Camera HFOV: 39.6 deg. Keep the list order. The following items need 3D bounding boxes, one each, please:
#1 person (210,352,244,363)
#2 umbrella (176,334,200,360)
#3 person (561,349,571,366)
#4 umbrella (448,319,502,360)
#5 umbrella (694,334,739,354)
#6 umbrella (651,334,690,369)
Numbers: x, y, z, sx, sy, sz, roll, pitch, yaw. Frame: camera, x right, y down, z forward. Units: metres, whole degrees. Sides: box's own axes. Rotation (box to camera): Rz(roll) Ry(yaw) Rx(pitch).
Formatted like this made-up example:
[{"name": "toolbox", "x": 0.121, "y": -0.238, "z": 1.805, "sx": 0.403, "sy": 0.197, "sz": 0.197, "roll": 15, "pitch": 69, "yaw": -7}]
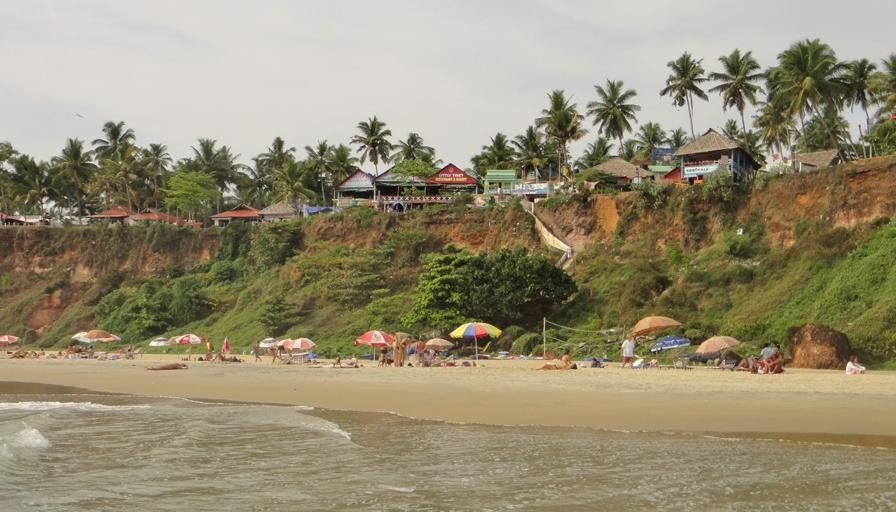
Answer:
[{"name": "person", "x": -20.109, "y": 9.368, "z": 113.960, "sx": 1.427, "sy": 0.593, "sz": 1.868, "roll": 3, "pitch": -13, "yaw": 9}, {"name": "umbrella", "x": -25.051, "y": 8.783, "z": 120.299, "sx": 2.538, "sy": 2.505, "sz": 2.515, "roll": 5, "pitch": 3, "yaw": 36}, {"name": "person", "x": 9.811, "y": 8.541, "z": 102.868, "sx": 0.741, "sy": 1.070, "sz": 1.774, "roll": 0, "pitch": -4, "yaw": 3}, {"name": "umbrella", "x": 2.719, "y": 7.531, "z": 110.319, "sx": 3.544, "sy": 2.310, "sz": 3.715, "roll": -4, "pitch": -2, "yaw": 20}, {"name": "umbrella", "x": 22.837, "y": 7.379, "z": 103.812, "sx": 3.607, "sy": 1.539, "sz": 2.362, "roll": 2, "pitch": -5, "yaw": -31}, {"name": "umbrella", "x": 18.998, "y": 8.236, "z": 106.036, "sx": 2.776, "sy": 1.844, "sz": 2.698, "roll": 1, "pitch": 6, "yaw": 11}]
